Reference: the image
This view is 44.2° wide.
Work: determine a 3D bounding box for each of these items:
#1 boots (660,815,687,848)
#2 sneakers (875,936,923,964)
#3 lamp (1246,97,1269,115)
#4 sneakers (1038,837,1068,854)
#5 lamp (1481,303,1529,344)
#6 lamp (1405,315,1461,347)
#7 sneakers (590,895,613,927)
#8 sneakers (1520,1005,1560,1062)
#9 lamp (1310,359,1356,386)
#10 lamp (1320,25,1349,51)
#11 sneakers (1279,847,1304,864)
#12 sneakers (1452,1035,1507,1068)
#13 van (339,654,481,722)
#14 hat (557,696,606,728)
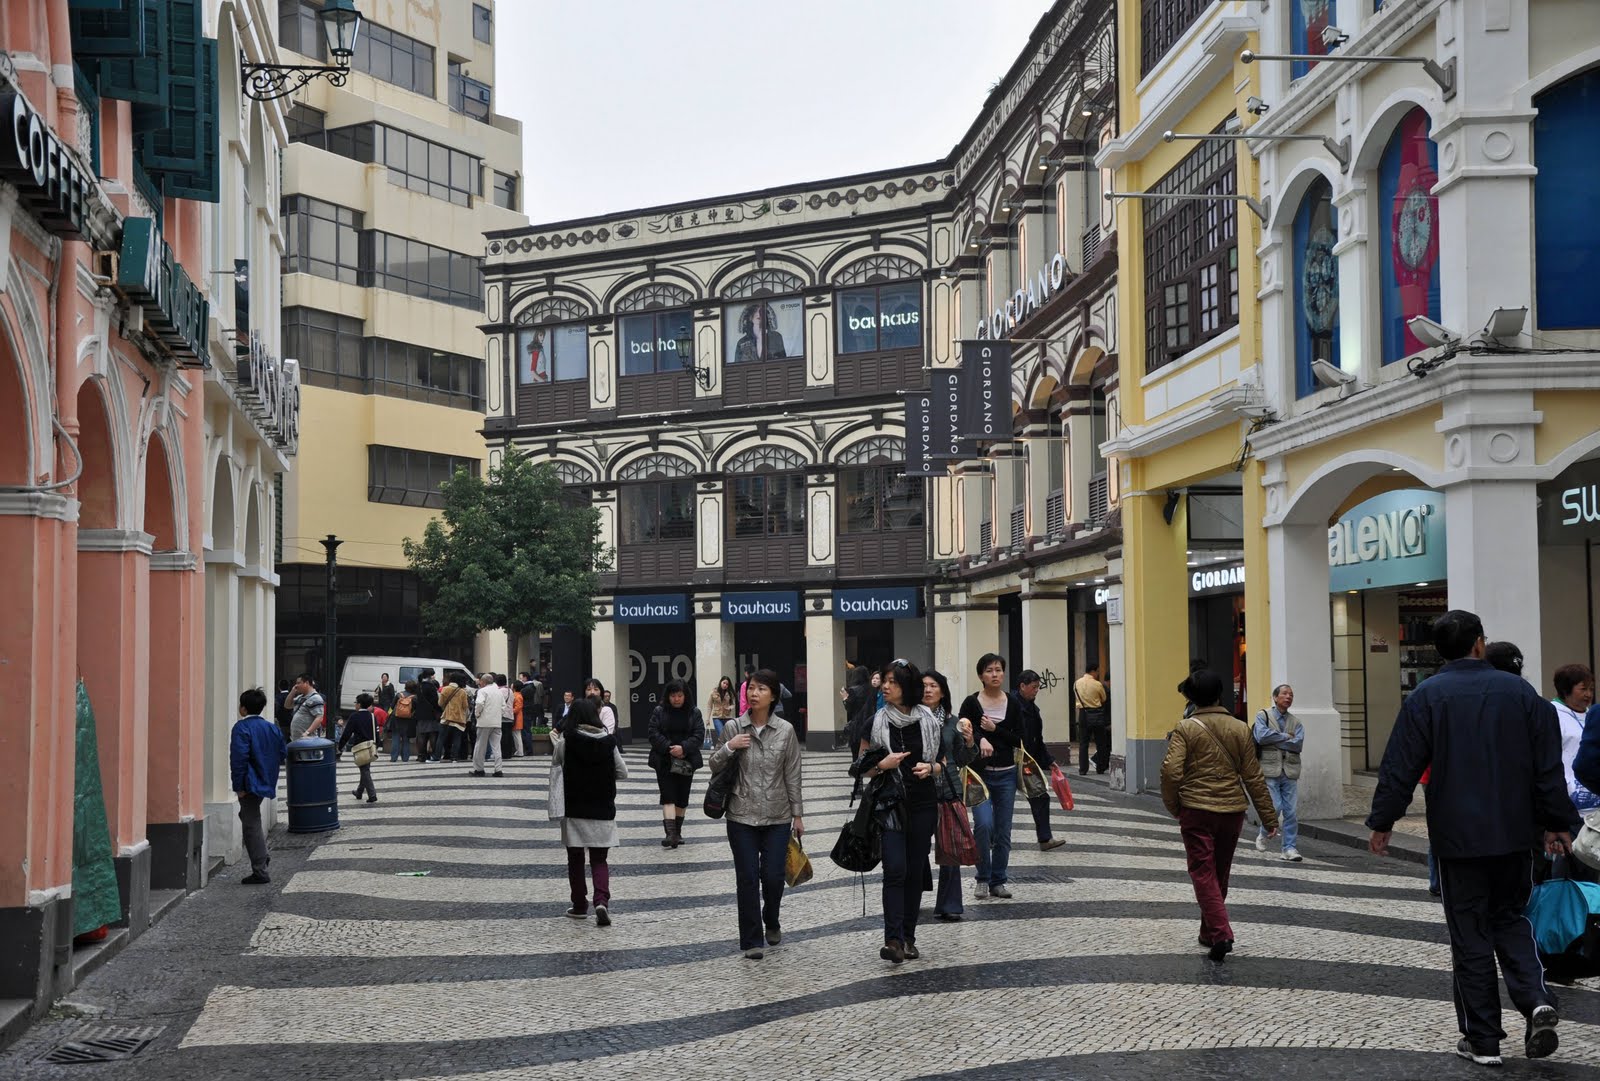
[{"bbox_3d":[-1.605,3.715,25.362,0.195,0.441,0.423,2,3,-20],"label":"boots"},{"bbox_3d":[0.887,3.686,17.763,0.154,0.194,0.408,-5,-13,22],"label":"sneakers"},{"bbox_3d":[6.409,-6.073,27.673,0.216,0.228,0.283,-5,-26,24],"label":"lamp"},{"bbox_3d":[3.051,3.660,23.839,0.369,0.164,0.134,-15,14,-13],"label":"sneakers"},{"bbox_3d":[8.116,-2.450,22.530,0.584,0.446,0.476,-1,1,1],"label":"lamp"},{"bbox_3d":[7.422,-2.434,23.056,0.517,0.350,0.401,-1,1,7],"label":"lamp"},{"bbox_3d":[-2.019,3.701,19.675,0.114,0.356,0.149,-3,34,-5],"label":"sneakers"},{"bbox_3d":[5.580,3.679,14.827,0.223,0.453,0.266,-1,1,20],"label":"sneakers"},{"bbox_3d":[6.909,-2.140,25.599,0.501,0.368,0.773,-1,1,6],"label":"lamp"},{"bbox_3d":[6.912,-6.492,25.458,0.316,0.223,0.423,16,1,16],"label":"lamp"},{"bbox_3d":[5.812,3.720,23.341,0.101,0.116,0.266,0,-12,-11],"label":"sneakers"},{"bbox_3d":[5.131,3.847,14.919,0.136,0.175,0.378,1,3,-18],"label":"sneakers"},{"bbox_3d":[-10.610,3.804,51.988,3.062,1.641,1.775,-1,-4,-2],"label":"van"},{"bbox_3d":[-2.223,1.712,19.786,0.275,0.346,0.382,1,-6,-15],"label":"hat"}]
